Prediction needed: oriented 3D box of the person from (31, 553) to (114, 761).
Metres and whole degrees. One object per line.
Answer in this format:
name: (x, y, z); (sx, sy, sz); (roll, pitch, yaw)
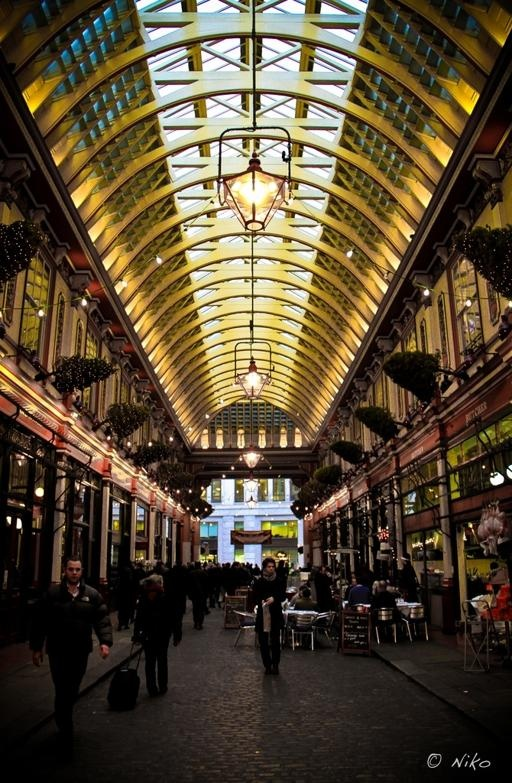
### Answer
person: (-1.400, 1.943, 3.809); (0.539, 1.384, 0.297); (4, 5, -7)

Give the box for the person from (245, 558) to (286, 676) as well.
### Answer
person: (0.262, 3.906, 8.836); (0.519, 1.790, 0.559); (3, -14, -17)

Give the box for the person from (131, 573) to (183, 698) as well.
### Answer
person: (-1.413, 3.333, 6.924); (0.558, 1.516, 0.742); (4, -19, -13)

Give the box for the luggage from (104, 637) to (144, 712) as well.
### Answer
luggage: (-1.456, 3.152, 5.842); (0.398, 0.963, 0.295); (7, 7, -19)
